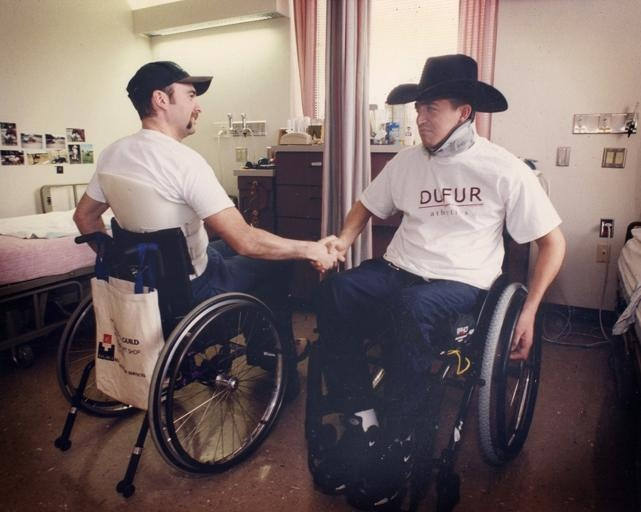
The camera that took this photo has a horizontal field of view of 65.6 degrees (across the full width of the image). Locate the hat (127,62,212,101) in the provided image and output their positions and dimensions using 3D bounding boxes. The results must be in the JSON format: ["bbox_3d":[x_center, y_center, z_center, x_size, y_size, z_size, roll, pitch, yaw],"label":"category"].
[{"bbox_3d":[-0.701,-0.825,2.333,0.385,0.181,0.255,-10,5,-8],"label":"hat"}]

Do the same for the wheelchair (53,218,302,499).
[{"bbox_3d":[-0.719,0.374,2.566,0.898,1.115,1.219,7,15,20],"label":"wheelchair"}]

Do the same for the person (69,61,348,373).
[{"bbox_3d":[-0.595,-0.079,2.670,1.214,1.771,1.081,-14,26,-42],"label":"person"}]

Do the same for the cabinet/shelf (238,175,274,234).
[{"bbox_3d":[-0.535,-0.444,4.041,0.317,0.565,0.363,1,22,-4],"label":"cabinet/shelf"}]

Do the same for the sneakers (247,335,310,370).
[{"bbox_3d":[-0.221,0.520,2.651,0.208,0.120,0.305,-3,-3,22],"label":"sneakers"}]

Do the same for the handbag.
[{"bbox_3d":[-0.826,0.279,2.149,0.382,0.659,0.234,7,18,31],"label":"handbag"}]

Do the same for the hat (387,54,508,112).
[{"bbox_3d":[0.584,-0.826,2.343,0.461,0.241,0.539,-7,0,-2],"label":"hat"}]

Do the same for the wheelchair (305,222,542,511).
[{"bbox_3d":[0.579,0.502,2.418,0.954,1.550,1.217,0,-6,32],"label":"wheelchair"}]
